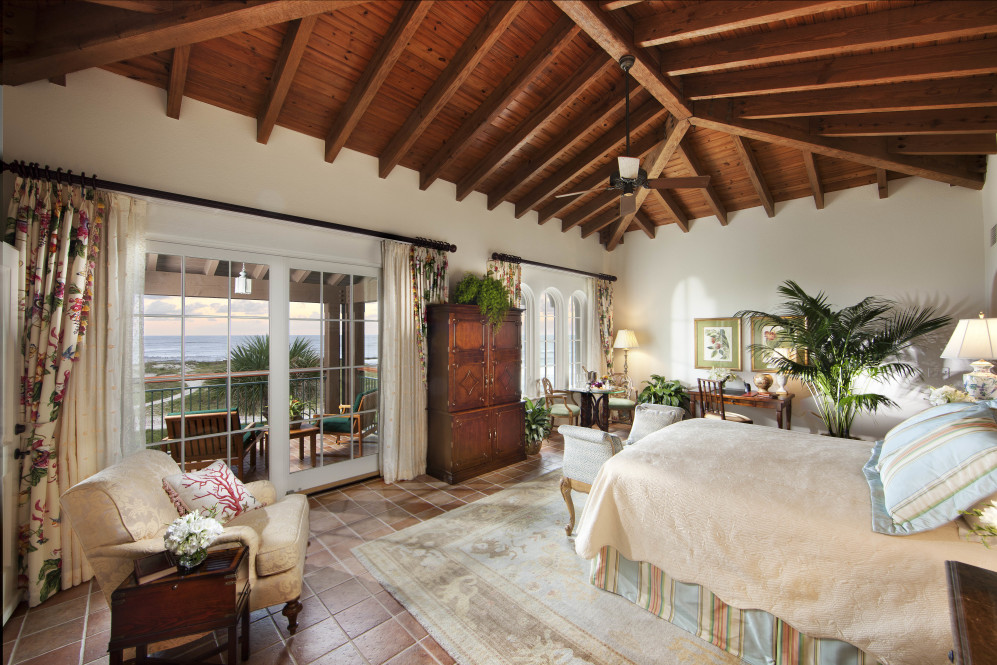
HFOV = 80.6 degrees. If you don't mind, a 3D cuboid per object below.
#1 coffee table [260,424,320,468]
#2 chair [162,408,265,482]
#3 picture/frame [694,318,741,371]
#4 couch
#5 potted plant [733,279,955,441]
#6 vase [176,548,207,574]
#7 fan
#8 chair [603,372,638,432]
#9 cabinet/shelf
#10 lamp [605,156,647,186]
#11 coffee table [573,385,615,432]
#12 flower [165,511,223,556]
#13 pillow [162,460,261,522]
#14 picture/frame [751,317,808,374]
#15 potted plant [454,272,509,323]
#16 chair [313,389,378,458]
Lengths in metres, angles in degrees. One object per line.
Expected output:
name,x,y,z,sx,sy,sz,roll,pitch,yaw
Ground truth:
coffee table,-2.320,1.204,6.534,0.485,0.434,0.491,3,3,41
chair,-2.944,1.133,6.089,0.636,0.627,0.773,0,0,-22
picture/frame,3.427,0.177,9.110,0.068,0.990,0.843,4,-5,-44
couch,-2.464,1.601,5.164,1.746,1.419,1.503,-1,1,-10
potted plant,4.629,0.343,8.150,2.175,1.640,2.091,2,-5,-7
vase,-2.257,1.680,4.321,0.167,0.125,0.184,1,-7,-23
fan,1.280,-2.040,5.817,1.303,1.222,1.172,12,27,40
chair,2.073,1.171,9.911,0.777,1.060,0.847,0,-7,3
cabinet/shelf,-0.245,0.716,7.411,1.135,2.131,0.354,-2,-3,-39
lamp,1.239,-1.505,5.627,0.317,0.151,0.426,1,8,11
coffee table,1.507,1.184,9.216,0.657,0.652,0.664,-1,-1,13
flower,-2.266,1.478,4.417,0.331,0.239,0.329,3,1,5
pillow,-2.368,1.327,4.886,0.475,0.156,0.490,23,22,-49
picture/frame,4.174,0.150,8.695,1.052,0.989,0.070,5,-2,-16
potted plant,-0.273,-0.477,7.581,0.648,0.488,0.615,4,4,-29
chair,-1.735,1.002,6.959,0.773,0.759,0.564,3,-11,-23
